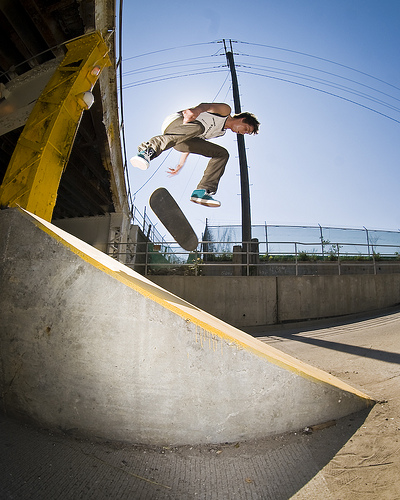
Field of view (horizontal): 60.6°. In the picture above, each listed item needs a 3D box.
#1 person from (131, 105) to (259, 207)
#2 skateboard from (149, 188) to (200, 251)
[{"bbox_3d":[-0.019,-1.226,4.365,0.826,1.332,1.657,2,3,30],"label":"person"},{"bbox_3d":[-0.376,-0.444,5.006,0.181,0.357,1.301,41,-1,43],"label":"skateboard"}]
